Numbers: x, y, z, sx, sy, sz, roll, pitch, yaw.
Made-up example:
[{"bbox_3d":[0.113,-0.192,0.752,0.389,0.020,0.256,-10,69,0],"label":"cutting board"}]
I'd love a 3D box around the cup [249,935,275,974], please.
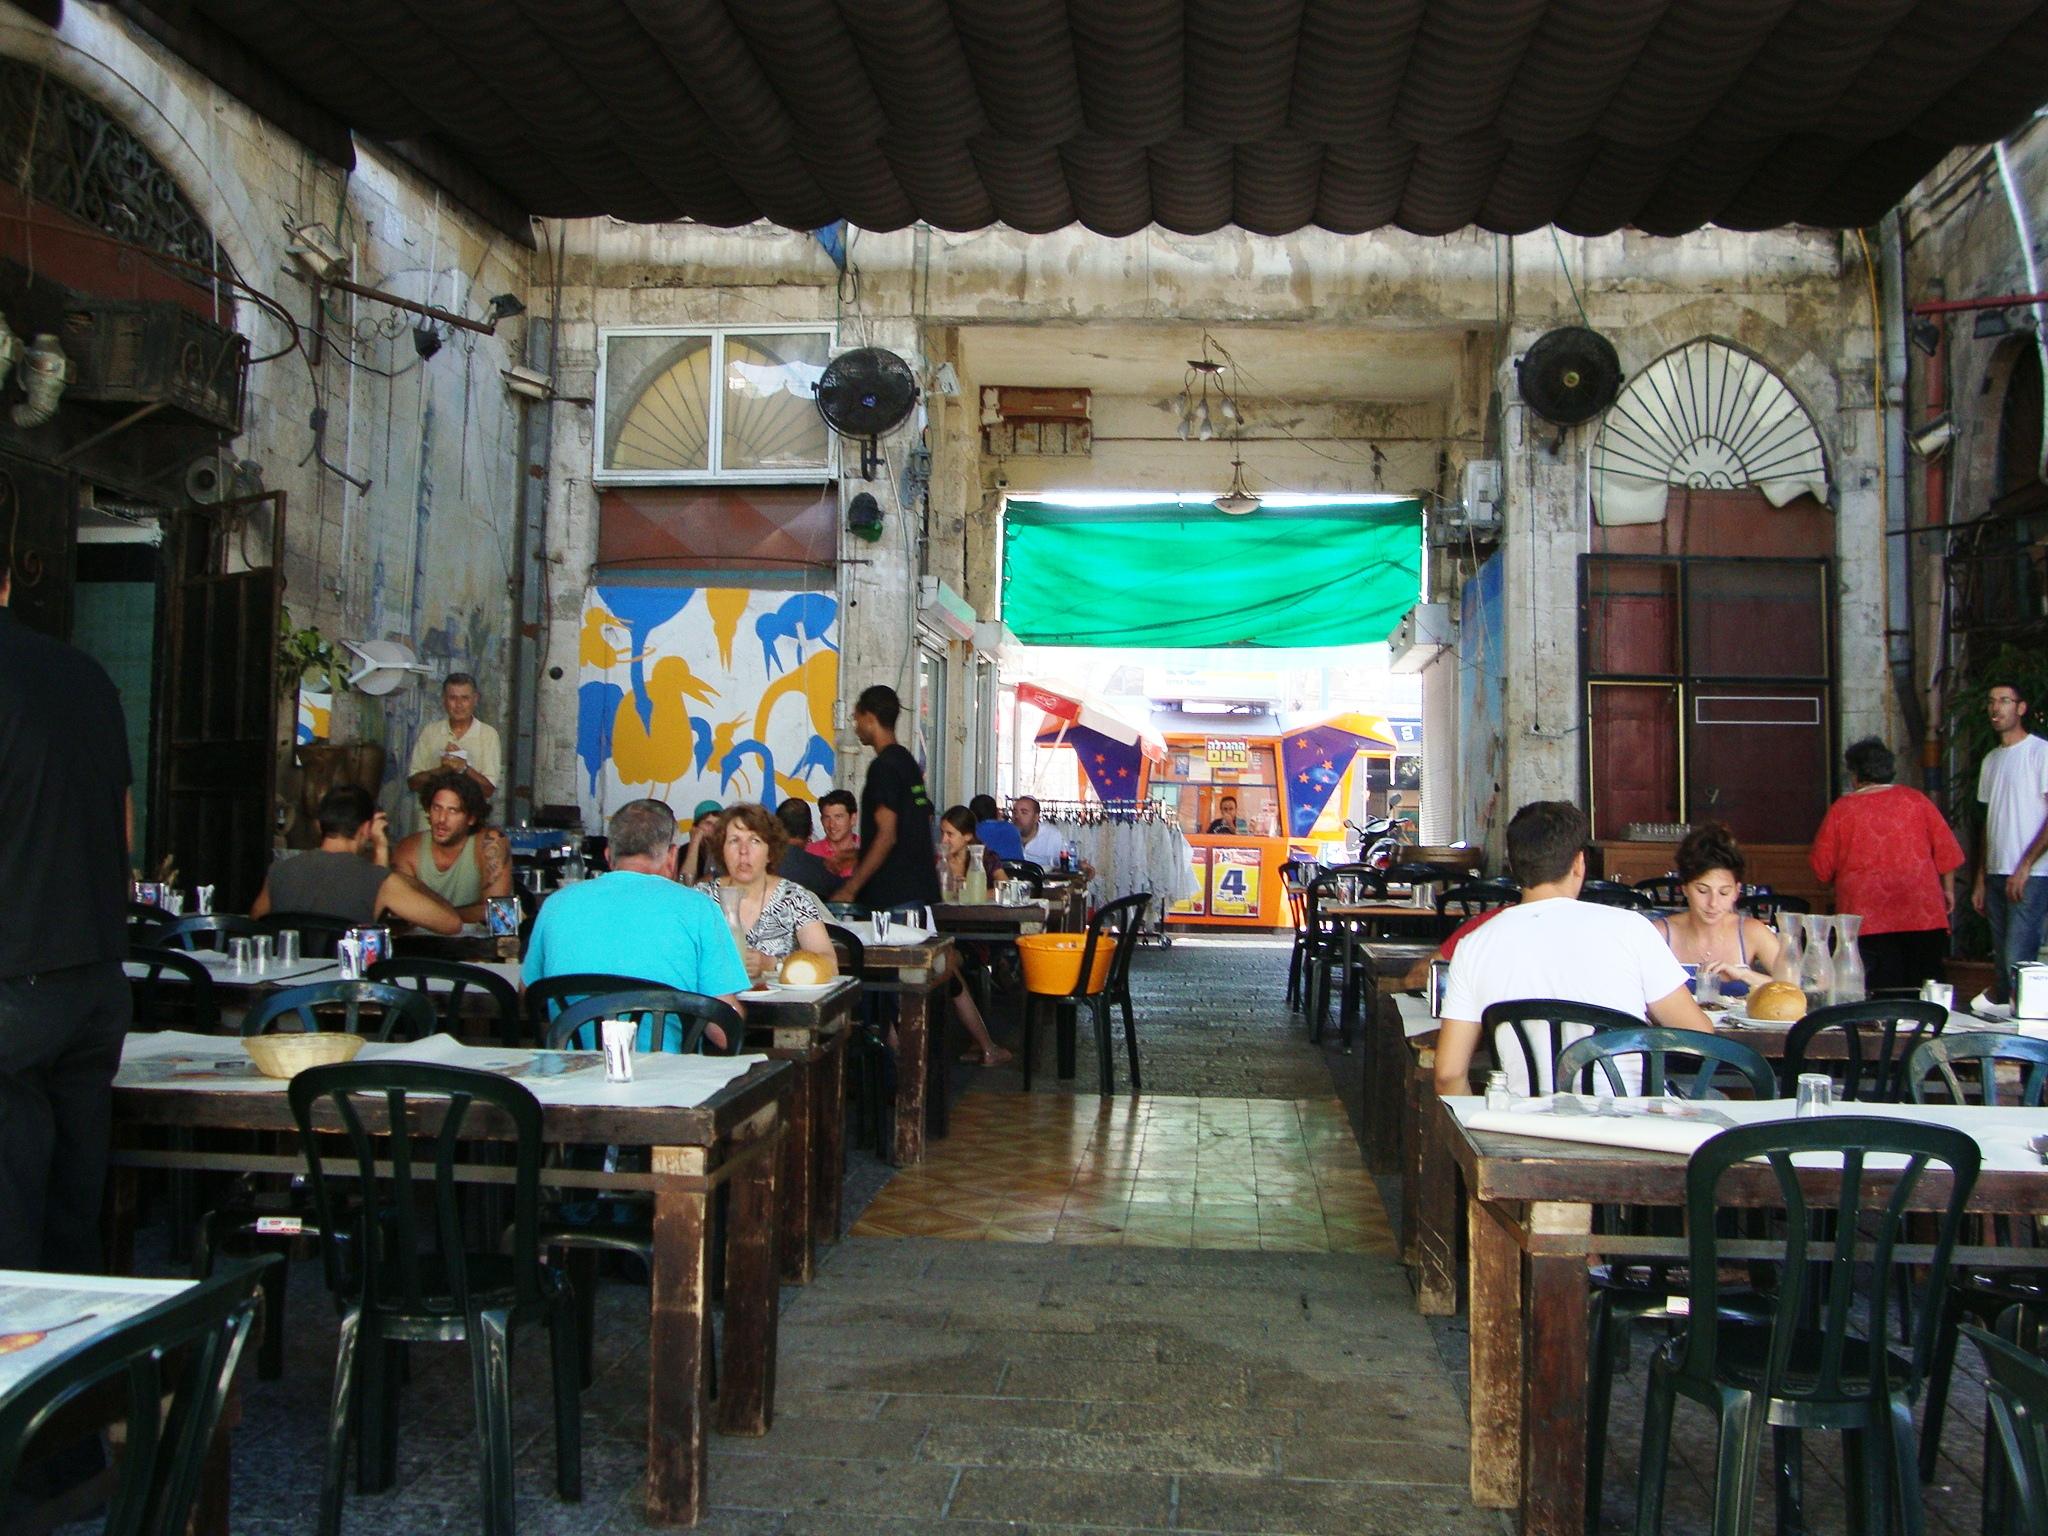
[{"bbox_3d":[-2.658,0.659,6.510,0.085,0.160,0.088,1,-4,0],"label":"cup"}]

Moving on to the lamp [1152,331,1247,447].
[{"bbox_3d":[1.557,-3.109,15.873,0.435,1.218,0.591,-1,-8,16],"label":"lamp"}]

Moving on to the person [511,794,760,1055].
[{"bbox_3d":[-1.141,0.436,5.865,0.870,0.914,0.523,3,2,0],"label":"person"}]

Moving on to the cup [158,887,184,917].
[{"bbox_3d":[-3.662,0.587,8.008,0.091,0.137,0.109,2,4,-11],"label":"cup"}]

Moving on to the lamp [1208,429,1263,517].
[{"bbox_3d":[1.788,-2.491,15.683,0.389,0.741,1.059,0,2,6],"label":"lamp"}]

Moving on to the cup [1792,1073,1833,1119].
[{"bbox_3d":[1.971,0.818,4.648,0.091,0.115,0.097,1,-6,0],"label":"cup"}]

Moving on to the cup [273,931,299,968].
[{"bbox_3d":[-2.621,0.655,6.642,0.086,0.150,0.088,0,-7,0],"label":"cup"}]

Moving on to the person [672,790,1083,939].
[{"bbox_3d":[-0.709,0.465,8.610,1.286,0.805,0.633,-2,-1,-4],"label":"person"}]

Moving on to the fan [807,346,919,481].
[{"bbox_3d":[-1.011,-2.350,11.744,0.593,0.585,0.309,0,2,5],"label":"fan"}]

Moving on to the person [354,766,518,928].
[{"bbox_3d":[-2.466,0.343,8.082,0.528,0.868,0.667,1,6,-8],"label":"person"}]

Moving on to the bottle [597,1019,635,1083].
[{"bbox_3d":[-1.048,0.745,4.854,0.113,0.191,0.119,-1,-13,0],"label":"bottle"}]

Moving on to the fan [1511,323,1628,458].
[{"bbox_3d":[3.499,-2.422,12.056,0.671,0.774,0.366,1,2,7],"label":"fan"}]

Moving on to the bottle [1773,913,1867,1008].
[{"bbox_3d":[2.601,0.649,6.161,0.244,0.297,0.104,0,-7,4],"label":"bottle"}]

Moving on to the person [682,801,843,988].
[{"bbox_3d":[-1.039,0.564,6.857,0.580,0.806,0.420,-7,14,-19],"label":"person"}]
